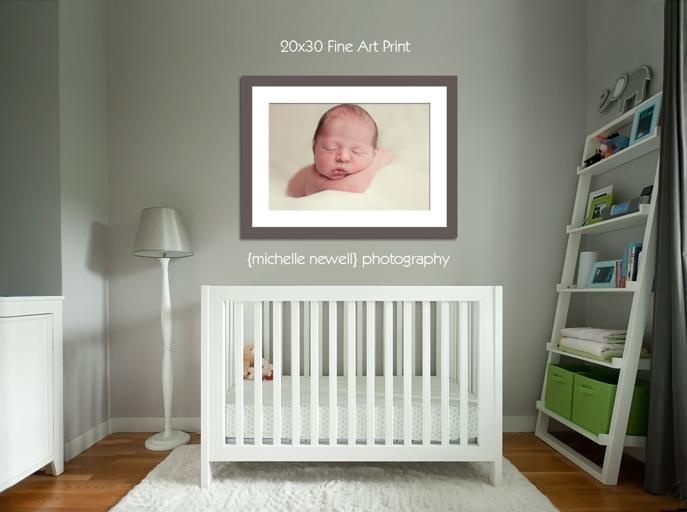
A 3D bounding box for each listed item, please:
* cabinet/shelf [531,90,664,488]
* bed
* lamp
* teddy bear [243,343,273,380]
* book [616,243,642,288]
[{"bbox_3d":[1.556,0.156,3.575,0.458,2.245,0.745,1,2,-13],"label":"cabinet/shelf"},{"bbox_3d":[0.051,0.741,3.624,1.580,1.205,0.954,0,4,2],"label":"bed"},{"bbox_3d":[-1.142,0.452,3.754,0.362,1.532,0.367,1,2,-4],"label":"lamp"},{"bbox_3d":[-0.533,0.677,3.574,0.226,0.175,0.090,34,-12,-19],"label":"teddy bear"},{"bbox_3d":[1.660,0.063,3.393,0.235,0.246,0.140,5,-1,-41],"label":"book"}]
